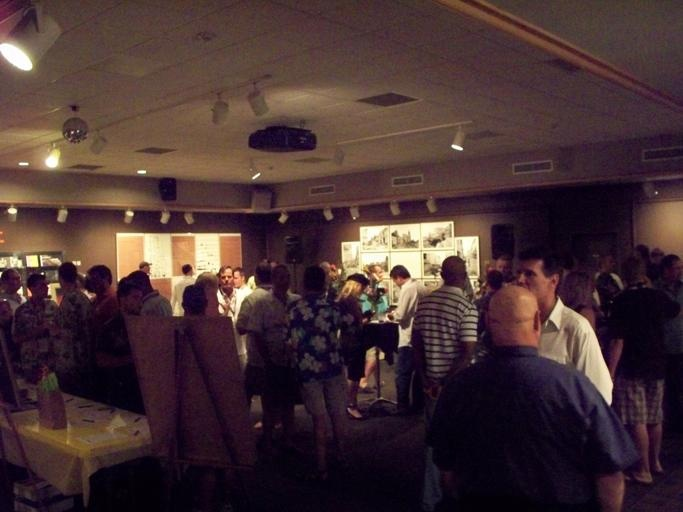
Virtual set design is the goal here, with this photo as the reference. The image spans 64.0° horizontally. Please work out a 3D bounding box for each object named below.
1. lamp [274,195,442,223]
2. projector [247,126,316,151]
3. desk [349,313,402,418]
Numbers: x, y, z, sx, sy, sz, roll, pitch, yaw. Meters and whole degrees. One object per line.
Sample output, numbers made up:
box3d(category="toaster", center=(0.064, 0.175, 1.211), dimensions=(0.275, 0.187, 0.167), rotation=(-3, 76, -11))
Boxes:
box3d(category="lamp", center=(0.299, -0.961, 11.560), dimensions=(4.079, 0.394, 0.972), rotation=(2, 3, 43))
box3d(category="projector", center=(-0.796, -1.369, 6.577), dimensions=(0.663, 0.307, 0.772), rotation=(2, 2, -40))
box3d(category="desk", center=(0.311, 1.319, 6.432), dimensions=(0.578, 1.171, 0.677), rotation=(6, 4, -1))
